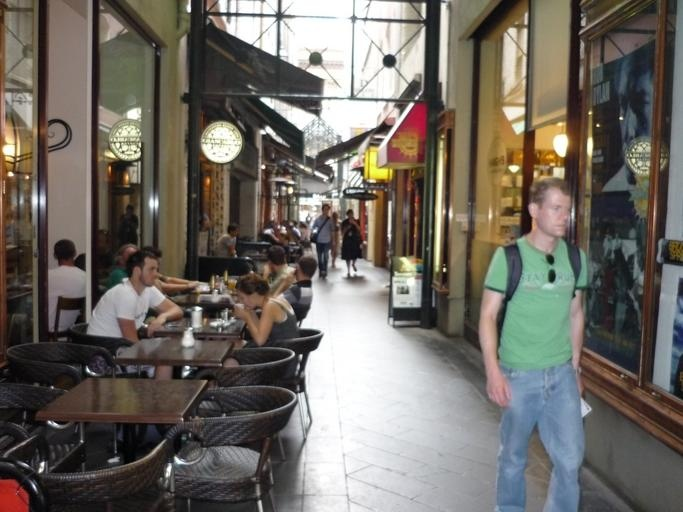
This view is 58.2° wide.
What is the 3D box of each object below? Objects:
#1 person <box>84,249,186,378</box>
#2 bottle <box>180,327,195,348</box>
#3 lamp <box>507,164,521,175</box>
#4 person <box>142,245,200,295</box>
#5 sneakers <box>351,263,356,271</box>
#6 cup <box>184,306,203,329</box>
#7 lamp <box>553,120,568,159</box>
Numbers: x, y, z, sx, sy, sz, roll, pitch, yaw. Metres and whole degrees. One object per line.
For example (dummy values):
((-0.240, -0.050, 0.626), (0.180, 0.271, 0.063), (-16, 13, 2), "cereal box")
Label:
((-2.016, 0.544, 5.898), (0.890, 1.180, 1.389), (-1, 4, -14), "person")
((-1.279, 0.674, 5.116), (0.131, 0.237, 0.137), (1, -2, 0), "bottle")
((2.465, -1.239, 8.706), (0.111, 0.051, 0.120), (7, -20, -14), "lamp")
((-2.484, 0.353, 8.655), (0.755, 0.902, 0.557), (-13, 9, -15), "person")
((0.396, 0.381, 19.828), (0.083, 0.312, 0.132), (-5, 41, 0), "sneakers")
((-1.432, 0.597, 6.001), (0.130, 0.209, 0.376), (-1, 4, -14), "cup")
((2.526, -1.338, 7.095), (0.111, 0.461, 0.794), (1, 4, 15), "lamp")
